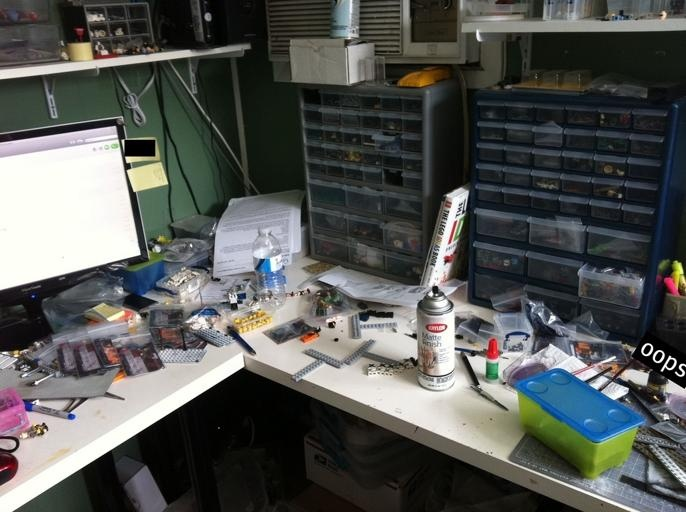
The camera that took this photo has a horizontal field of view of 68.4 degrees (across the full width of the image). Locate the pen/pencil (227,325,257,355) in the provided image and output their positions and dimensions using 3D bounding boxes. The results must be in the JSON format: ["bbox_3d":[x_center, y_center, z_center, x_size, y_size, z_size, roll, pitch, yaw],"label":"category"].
[{"bbox_3d":[-0.302,0.257,1.503,0.110,0.013,0.013,41,8,39],"label":"pen/pencil"}]

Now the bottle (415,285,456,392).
[{"bbox_3d":[0.232,0.210,1.248,0.095,0.274,0.059,0,25,10],"label":"bottle"}]

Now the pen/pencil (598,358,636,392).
[{"bbox_3d":[0.701,0.309,1.289,0.138,0.011,0.014,-35,47,-27],"label":"pen/pencil"}]

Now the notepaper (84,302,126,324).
[{"bbox_3d":[-0.760,0.186,1.604,0.072,0.020,0.072,17,25,27],"label":"notepaper"}]

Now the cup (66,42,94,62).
[{"bbox_3d":[-0.803,-0.614,1.540,0.077,0.050,0.072,1,23,-1],"label":"cup"}]

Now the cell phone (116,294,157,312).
[{"bbox_3d":[-0.700,0.161,1.717,0.085,0.017,0.053,20,34,24],"label":"cell phone"}]

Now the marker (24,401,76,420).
[{"bbox_3d":[-0.737,0.391,1.266,0.122,0.016,0.016,11,-4,11],"label":"marker"}]

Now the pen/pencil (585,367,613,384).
[{"bbox_3d":[0.650,0.306,1.283,0.052,0.007,0.008,-31,-11,-14],"label":"pen/pencil"}]
